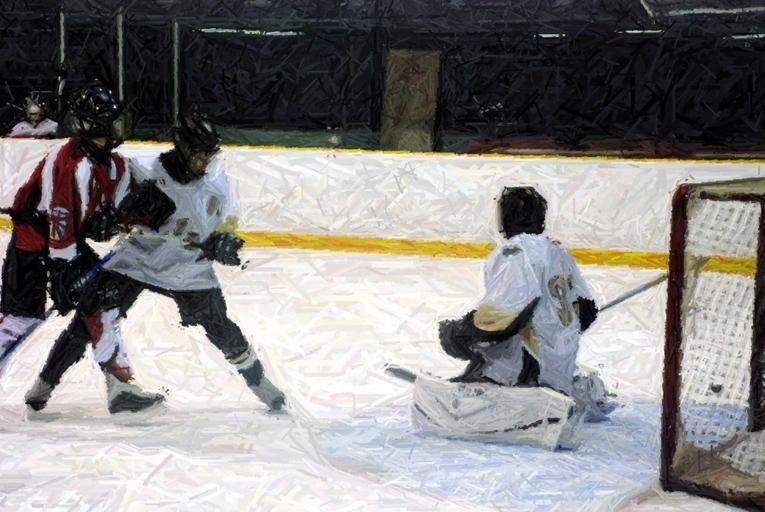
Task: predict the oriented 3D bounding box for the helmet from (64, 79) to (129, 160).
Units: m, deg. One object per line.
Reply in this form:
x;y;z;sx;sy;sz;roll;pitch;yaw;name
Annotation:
-1.863;-0.859;5.609;0.313;0.477;0.310;1;10;-20;helmet

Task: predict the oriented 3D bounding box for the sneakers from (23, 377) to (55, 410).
-2.272;0.918;5.725;0.122;0.206;0.141;42;4;41;sneakers

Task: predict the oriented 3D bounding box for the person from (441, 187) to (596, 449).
0.870;0.299;5.596;1.294;1.428;1.058;-6;7;-42;person
